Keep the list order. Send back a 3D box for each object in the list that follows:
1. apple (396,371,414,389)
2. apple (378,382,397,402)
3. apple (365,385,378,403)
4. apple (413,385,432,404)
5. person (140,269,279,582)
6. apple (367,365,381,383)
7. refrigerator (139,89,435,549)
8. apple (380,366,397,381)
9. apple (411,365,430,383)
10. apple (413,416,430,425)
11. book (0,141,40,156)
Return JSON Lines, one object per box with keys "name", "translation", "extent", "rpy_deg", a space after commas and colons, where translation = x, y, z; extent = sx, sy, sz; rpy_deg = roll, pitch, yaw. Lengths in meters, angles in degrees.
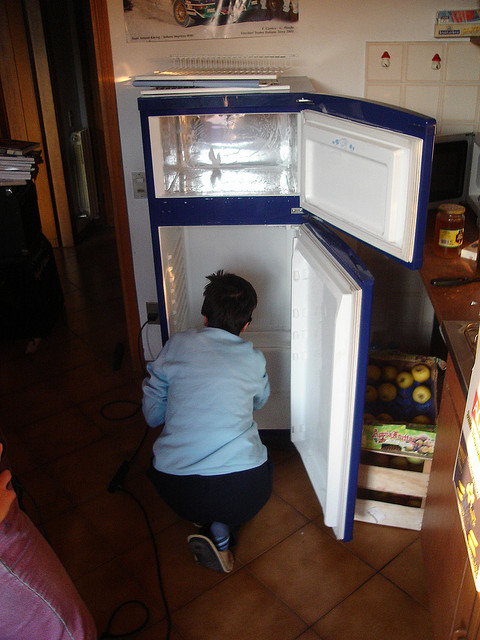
{"name": "apple", "translation": [0.611, 0.223, 1.760], "extent": [0.048, 0.059, 0.054], "rpy_deg": [3, 2, 29]}
{"name": "apple", "translation": [0.544, 0.270, 1.762], "extent": [0.059, 0.063, 0.059], "rpy_deg": [31, -30, -13]}
{"name": "apple", "translation": [0.487, 0.277, 1.764], "extent": [0.050, 0.057, 0.049], "rpy_deg": [23, -7, 25]}
{"name": "apple", "translation": [0.656, 0.269, 1.715], "extent": [0.051, 0.059, 0.051], "rpy_deg": [-17, -6, 20]}
{"name": "person", "translation": [-0.032, 0.329, 1.558], "extent": [0.381, 0.941, 0.586], "rpy_deg": [17, 30, 36]}
{"name": "apple", "translation": [0.510, 0.204, 1.810], "extent": [0.050, 0.061, 0.040], "rpy_deg": [4, 25, 12]}
{"name": "refrigerator", "translation": [0.025, -0.219, 1.767], "extent": [0.646, 1.322, 1.119], "rpy_deg": [-35, 55, -29]}
{"name": "apple", "translation": [0.561, 0.204, 1.792], "extent": [0.045, 0.054, 0.051], "rpy_deg": [-4, -15, 6]}
{"name": "apple", "translation": [0.664, 0.199, 1.744], "extent": [0.055, 0.061, 0.054], "rpy_deg": [14, -8, -43]}
{"name": "apple", "translation": [0.640, 0.354, 1.675], "extent": [0.036, 0.026, 0.039], "rpy_deg": [-6, 4, 18]}
{"name": "book", "translation": [-1.280, -0.992, 2.747], "extent": [0.153, 0.060, 0.236], "rpy_deg": [-3, 28, -3]}
